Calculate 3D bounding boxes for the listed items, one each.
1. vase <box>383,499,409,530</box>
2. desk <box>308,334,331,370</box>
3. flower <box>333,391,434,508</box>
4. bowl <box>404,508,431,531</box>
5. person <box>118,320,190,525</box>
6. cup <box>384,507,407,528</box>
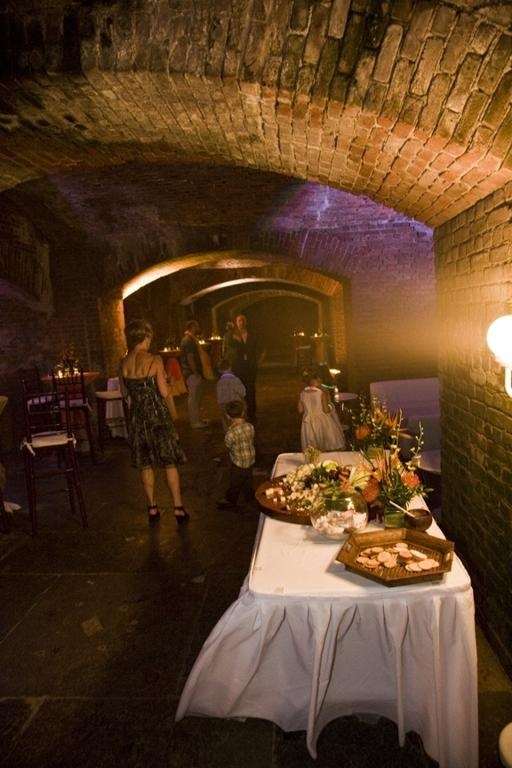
[{"bbox_3d":[0.647,0.603,2.409,0.105,0.105,0.107,0,0,5],"label":"vase"},{"bbox_3d":[1.969,-1.086,15.786,0.592,0.829,3.497,-3,7,8],"label":"desk"},{"bbox_3d":[1.033,0.452,3.994,0.733,0.954,0.823,0,10,5],"label":"flower"},{"bbox_3d":[0.741,0.611,2.358,0.091,0.068,0.096,-3,2,0],"label":"bowl"},{"bbox_3d":[-0.913,0.361,4.556,0.522,1.848,0.340,-3,7,2],"label":"person"},{"bbox_3d":[0.651,0.612,2.405,0.083,0.065,0.083,0,4,0],"label":"cup"}]
